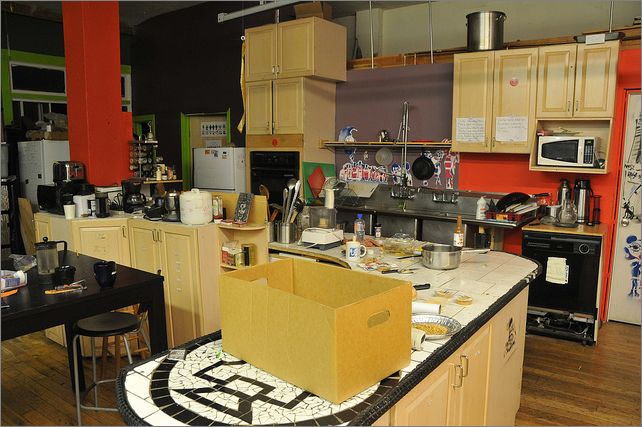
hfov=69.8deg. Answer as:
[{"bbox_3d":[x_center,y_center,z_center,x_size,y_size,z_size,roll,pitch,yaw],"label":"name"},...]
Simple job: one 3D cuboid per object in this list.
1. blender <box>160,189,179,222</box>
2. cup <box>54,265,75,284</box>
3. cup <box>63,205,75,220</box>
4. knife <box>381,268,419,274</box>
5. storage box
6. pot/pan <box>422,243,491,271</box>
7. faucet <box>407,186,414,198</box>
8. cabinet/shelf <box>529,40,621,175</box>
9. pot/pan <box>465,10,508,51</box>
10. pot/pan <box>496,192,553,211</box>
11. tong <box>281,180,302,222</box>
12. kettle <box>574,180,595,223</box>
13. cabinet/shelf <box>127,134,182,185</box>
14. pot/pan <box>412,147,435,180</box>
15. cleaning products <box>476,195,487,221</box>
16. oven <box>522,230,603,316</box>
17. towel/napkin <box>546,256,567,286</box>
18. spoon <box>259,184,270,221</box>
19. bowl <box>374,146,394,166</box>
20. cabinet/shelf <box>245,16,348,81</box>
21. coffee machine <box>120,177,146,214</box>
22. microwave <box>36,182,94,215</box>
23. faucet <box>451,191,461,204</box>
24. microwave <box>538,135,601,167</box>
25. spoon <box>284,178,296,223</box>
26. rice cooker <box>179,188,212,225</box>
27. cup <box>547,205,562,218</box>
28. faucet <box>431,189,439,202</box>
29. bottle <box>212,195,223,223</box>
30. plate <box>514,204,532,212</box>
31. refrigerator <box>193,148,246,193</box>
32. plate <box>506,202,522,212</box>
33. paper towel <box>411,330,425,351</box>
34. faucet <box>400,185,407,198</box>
[{"bbox_3d":[-1.609,-0.096,5.050,0.273,0.295,0.256,-4,9,-28],"label":"blender"},{"bbox_3d":[-2.052,0.496,3.740,0.127,0.123,0.164,-1,-2,28],"label":"cup"},{"bbox_3d":[-2.749,-0.018,5.031,0.150,0.146,0.147,2,11,0],"label":"cup"},{"bbox_3d":[0.665,0.480,3.869,0.364,0.031,0.093,-3,8,-10],"label":"knife"},{"bbox_3d":[-0.058,0.648,2.845,0.795,0.485,1.060,-5,9,-41],"label":"storage box"},{"bbox_3d":[1.126,0.355,3.903,0.481,0.156,0.260,3,5,37],"label":"pot/pan"},{"bbox_3d":[1.282,-0.303,6.585,0.084,0.133,0.042,1,-8,25],"label":"faucet"},{"bbox_3d":[3.095,-1.251,5.599,0.871,1.486,0.479,8,17,37],"label":"cabinet/shelf"},{"bbox_3d":[2.142,-2.255,5.984,0.552,0.445,0.517,3,9,26],"label":"pot/pan"},{"bbox_3d":[2.471,-0.190,5.811,0.438,0.126,0.321,-17,6,-43],"label":"pot/pan"},{"bbox_3d":[-0.316,-0.130,4.900,0.138,0.517,0.085,6,3,-4],"label":"tong"},{"bbox_3d":[3.216,-0.149,5.587,0.263,0.519,0.162,-1,9,-6],"label":"kettle"},{"bbox_3d":[-2.391,-0.790,6.985,0.631,0.936,0.864,7,9,41],"label":"cabinet/shelf"},{"bbox_3d":[1.465,-0.707,6.650,0.299,0.396,0.109,0,6,35],"label":"pot/pan"},{"bbox_3d":[2.010,-0.070,5.772,0.114,0.268,0.223,2,9,18],"label":"cleaning products"},{"bbox_3d":[2.698,0.622,5.097,0.933,1.205,0.698,2,5,29],"label":"oven"},{"bbox_3d":[2.701,0.652,5.268,0.225,0.298,0.099,5,6,24],"label":"towel/napkin"},{"bbox_3d":[-0.602,-0.090,4.949,0.100,0.483,0.076,10,15,33],"label":"spoon"},{"bbox_3d":[0.960,-0.854,6.946,0.266,0.262,0.063,15,13,33],"label":"bowl"},{"bbox_3d":[-0.254,-2.410,7.021,1.538,0.878,0.963,1,1,39],"label":"cabinet/shelf"},{"bbox_3d":[-2.213,-0.213,5.422,0.255,0.378,0.295,-4,9,-23],"label":"coffee machine"},{"bbox_3d":[-2.924,-0.175,5.310,0.468,0.331,0.652,-8,11,-44],"label":"microwave"},{"bbox_3d":[1.842,-0.217,6.277,0.099,0.144,0.169,2,8,17],"label":"faucet"},{"bbox_3d":[2.907,-0.734,5.457,0.578,0.360,0.406,3,5,31],"label":"microwave"},{"bbox_3d":[-0.333,-0.143,4.920,0.105,0.485,0.079,15,-4,-19],"label":"spoon"},{"bbox_3d":[-1.338,-0.092,4.920,0.347,0.370,0.350,3,10,20],"label":"rice cooker"},{"bbox_3d":[2.833,-0.038,5.593,0.149,0.155,0.149,-5,10,1],"label":"cup"},{"bbox_3d":[1.593,-0.231,6.403,0.085,0.161,0.112,1,9,12],"label":"faucet"},{"bbox_3d":[-1.114,-0.048,4.956,0.113,0.269,0.232,-2,9,-13],"label":"bottle"},{"bbox_3d":[2.494,-0.067,5.643,0.321,0.101,0.067,-4,9,-26],"label":"plate"},{"bbox_3d":[-1.681,-0.729,7.571,0.919,0.714,0.295,4,10,29],"label":"refrigerator"},{"bbox_3d":[2.358,-0.077,5.632,0.138,0.040,0.103,-11,0,2],"label":"plate"},{"bbox_3d":[0.608,0.778,2.880,0.084,0.116,0.142,2,8,12],"label":"paper towel"},{"bbox_3d":[1.198,-0.307,6.626,0.112,0.179,0.071,3,9,21],"label":"faucet"}]
